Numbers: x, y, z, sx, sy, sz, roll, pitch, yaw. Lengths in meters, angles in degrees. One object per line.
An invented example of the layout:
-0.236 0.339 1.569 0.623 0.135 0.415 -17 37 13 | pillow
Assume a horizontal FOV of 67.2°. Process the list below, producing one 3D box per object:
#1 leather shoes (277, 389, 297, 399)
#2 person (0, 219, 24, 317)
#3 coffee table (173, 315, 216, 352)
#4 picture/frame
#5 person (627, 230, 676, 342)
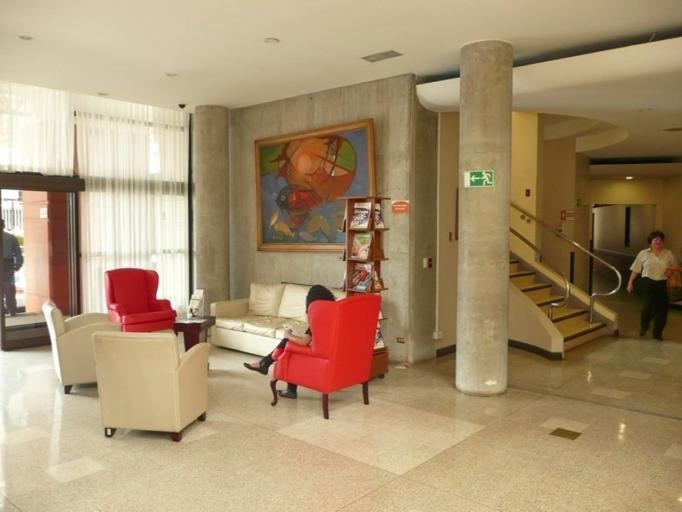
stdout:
-0.662 1.734 6.428 0.259 0.113 0.097 5 2 40 | leather shoes
-5.569 0.202 8.666 0.132 1.593 0.382 5 9 30 | person
-2.156 1.105 7.580 0.366 0.450 0.681 -1 8 -2 | coffee table
-0.364 -1.207 8.500 2.233 3.073 0.131 5 4 28 | picture/frame
5.470 0.525 9.106 0.611 1.914 0.447 5 9 30 | person
